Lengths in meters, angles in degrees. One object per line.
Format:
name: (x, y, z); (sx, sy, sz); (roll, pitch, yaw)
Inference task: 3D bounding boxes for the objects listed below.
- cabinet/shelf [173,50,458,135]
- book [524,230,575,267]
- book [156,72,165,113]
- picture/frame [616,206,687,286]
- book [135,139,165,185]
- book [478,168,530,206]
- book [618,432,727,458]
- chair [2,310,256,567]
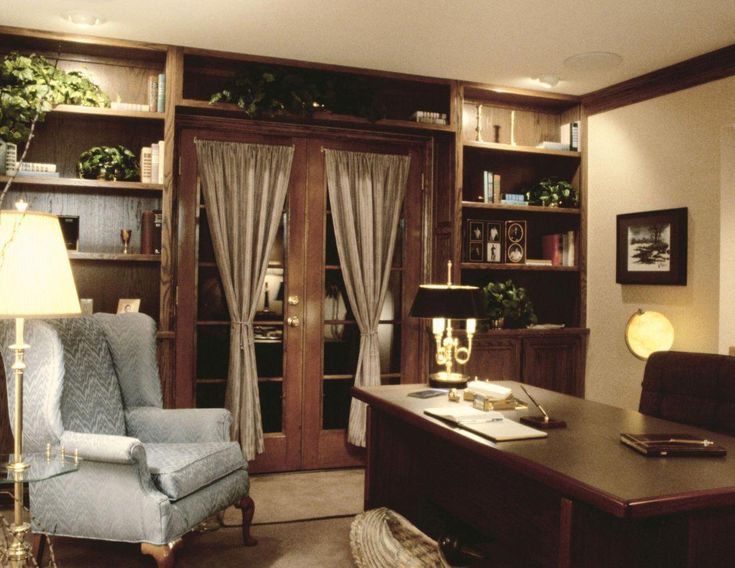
cabinet/shelf: (-0.342, -1.432, 4.880); (2.098, 0.477, 0.322); (2, 6, -14)
book: (1.628, -0.291, 5.507); (0.332, 0.365, 0.081); (-2, 5, 0)
book: (-1.455, -1.347, 4.474); (0.076, 0.256, 0.055); (-5, 7, -19)
picture/frame: (2.144, -0.288, 4.769); (0.046, 0.585, 0.575); (1, -2, -28)
book: (-1.562, -0.834, 4.620); (0.237, 0.455, 0.320); (0, 1, -20)
book: (1.099, -0.760, 5.171); (0.285, 0.406, 0.398); (0, 0, -11)
book: (1.275, 0.672, 2.668); (0.368, 0.065, 0.180); (-3, 7, -1)
chair: (-1.324, 0.833, 4.039); (1.302, 1.838, 1.465); (-1, -1, 13)
